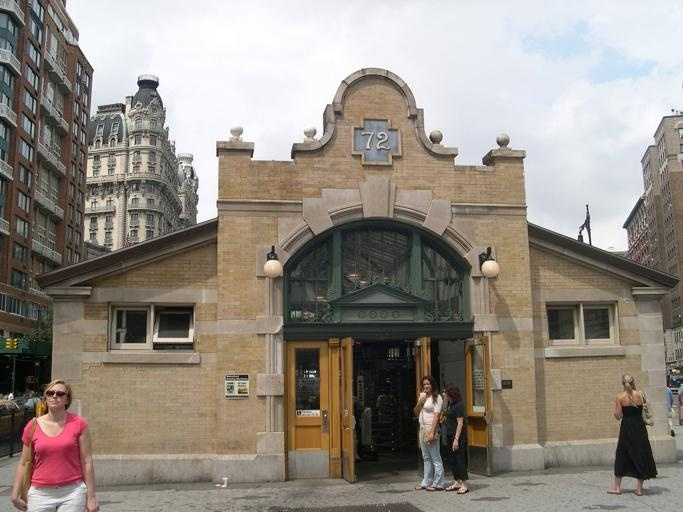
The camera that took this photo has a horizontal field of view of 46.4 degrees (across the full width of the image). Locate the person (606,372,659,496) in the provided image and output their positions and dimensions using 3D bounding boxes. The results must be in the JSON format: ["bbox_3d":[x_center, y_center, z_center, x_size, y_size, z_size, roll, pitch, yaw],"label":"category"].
[{"bbox_3d":[6.194,3.866,17.026,0.877,2.575,0.573,2,7,24],"label":"person"}]

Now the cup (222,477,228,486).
[{"bbox_3d":[-2.625,5.283,18.617,0.120,0.145,0.127,-1,-16,0],"label":"cup"}]

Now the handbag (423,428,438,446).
[{"bbox_3d":[2.005,4.039,17.732,0.260,0.277,0.350,3,-15,-1],"label":"handbag"}]

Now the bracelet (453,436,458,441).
[{"bbox_3d":[2.563,4.070,17.671,0.060,0.071,0.115,-2,-1,12],"label":"bracelet"}]

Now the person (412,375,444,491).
[{"bbox_3d":[1.995,4.018,17.944,0.583,2.610,0.774,-5,7,-33],"label":"person"}]

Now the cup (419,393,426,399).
[{"bbox_3d":[1.887,3.177,18.086,0.133,0.165,0.157,0,-2,45],"label":"cup"}]
